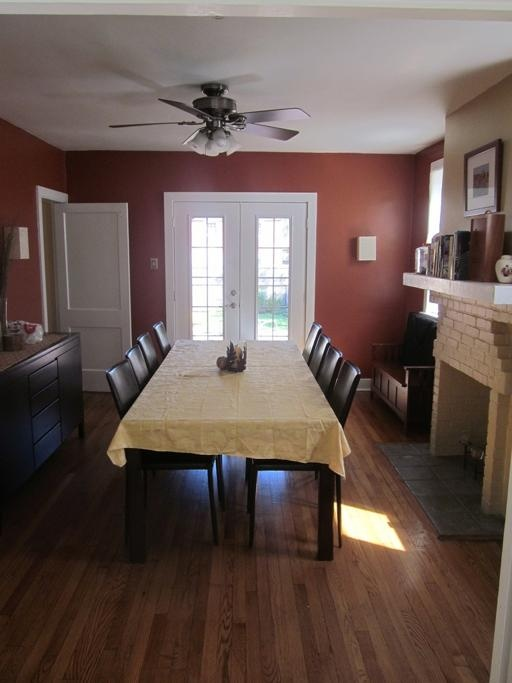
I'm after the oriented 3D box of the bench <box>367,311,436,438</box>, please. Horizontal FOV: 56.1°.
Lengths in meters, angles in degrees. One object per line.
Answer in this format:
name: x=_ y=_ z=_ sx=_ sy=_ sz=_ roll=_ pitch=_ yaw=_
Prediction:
bench: x=1.373 y=0.327 z=4.532 sx=0.364 sy=0.882 sz=1.013 roll=0 pitch=6 yaw=5
